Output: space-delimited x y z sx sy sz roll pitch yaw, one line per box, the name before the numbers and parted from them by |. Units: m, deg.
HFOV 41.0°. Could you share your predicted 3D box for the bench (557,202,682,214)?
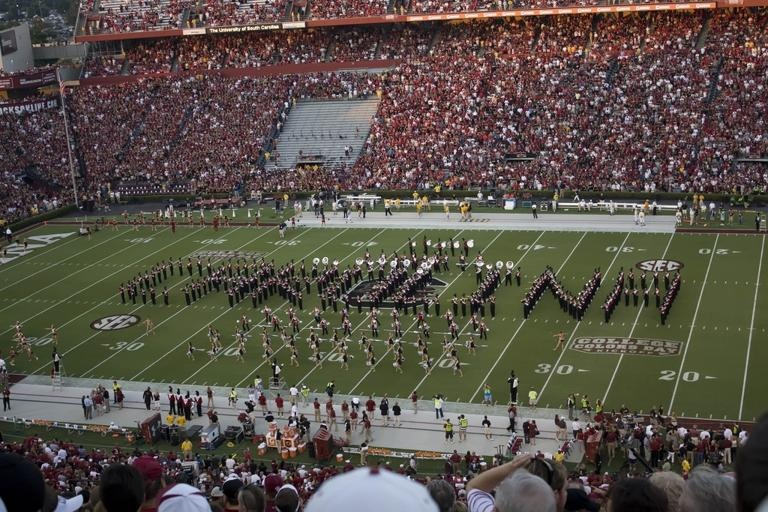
bench | 15.734 -3.279 70.653 7.666 0.908 2.120 3 1 26
